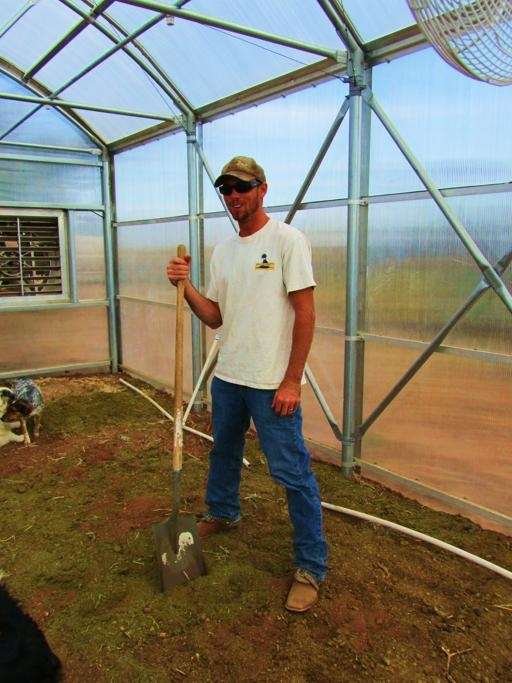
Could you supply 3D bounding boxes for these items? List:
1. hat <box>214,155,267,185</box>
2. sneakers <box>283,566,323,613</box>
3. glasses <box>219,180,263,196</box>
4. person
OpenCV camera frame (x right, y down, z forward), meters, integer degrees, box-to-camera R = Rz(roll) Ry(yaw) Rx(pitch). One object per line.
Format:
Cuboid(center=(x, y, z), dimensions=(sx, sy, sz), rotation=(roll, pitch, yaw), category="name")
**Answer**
Cuboid(center=(-0.053, -0.704, 2.255), dimensions=(0.137, 0.095, 0.189), rotation=(3, 0, 25), category="hat")
Cuboid(center=(0.202, 1.048, 2.284), dimensions=(0.136, 0.118, 0.232), rotation=(1, 9, 11), category="sneakers")
Cuboid(center=(-0.069, -0.637, 2.212), dimensions=(0.169, 0.064, 0.093), rotation=(-1, 9, 1), category="glasses")
Cuboid(center=(-0.015, 0.280, 2.390), dimensions=(0.347, 1.610, 0.761), rotation=(-10, 13, -43), category="person")
